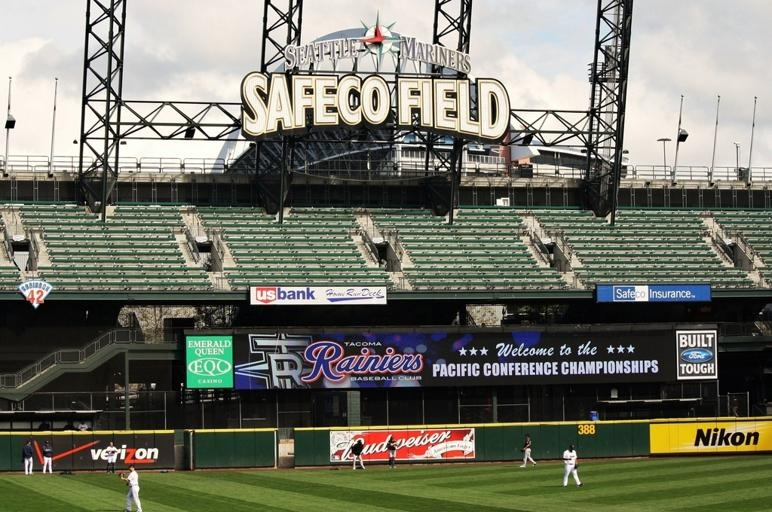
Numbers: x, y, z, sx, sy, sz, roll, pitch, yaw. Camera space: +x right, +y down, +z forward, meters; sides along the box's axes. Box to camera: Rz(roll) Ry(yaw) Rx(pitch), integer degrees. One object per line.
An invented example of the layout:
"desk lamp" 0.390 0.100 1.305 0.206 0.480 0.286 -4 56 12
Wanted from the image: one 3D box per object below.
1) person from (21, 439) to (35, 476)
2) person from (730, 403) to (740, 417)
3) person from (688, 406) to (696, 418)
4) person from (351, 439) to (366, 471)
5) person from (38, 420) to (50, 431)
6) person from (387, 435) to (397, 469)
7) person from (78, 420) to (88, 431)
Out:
"person" -22.716 12.686 120.158 0.708 2.135 1.320 0 -6 -12
"person" 24.214 10.576 131.235 0.519 0.797 1.366 -2 -6 10
"person" 21.458 10.845 132.411 0.618 0.845 0.616 1 -4 1
"person" -1.842 12.789 123.501 0.875 1.982 1.104 -1 -5 -3
"person" -23.021 11.236 127.149 0.862 0.611 0.291 -4 -6 25
"person" 0.381 12.680 123.599 0.606 1.954 0.799 -1 -5 -1
"person" -20.300 11.308 126.747 0.759 0.530 1.130 13 -4 -19
